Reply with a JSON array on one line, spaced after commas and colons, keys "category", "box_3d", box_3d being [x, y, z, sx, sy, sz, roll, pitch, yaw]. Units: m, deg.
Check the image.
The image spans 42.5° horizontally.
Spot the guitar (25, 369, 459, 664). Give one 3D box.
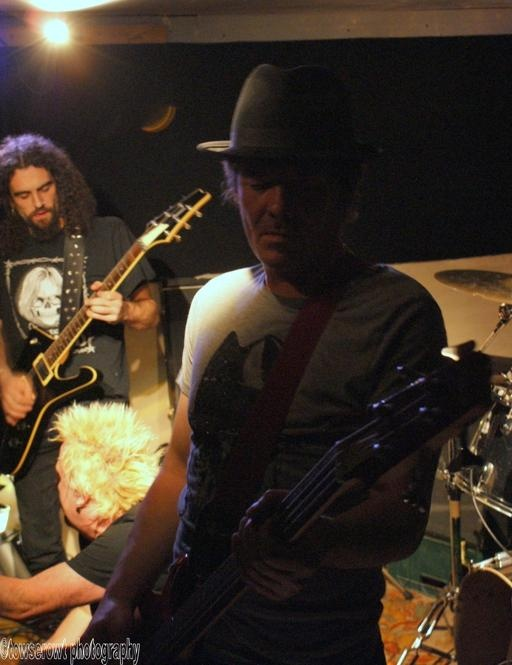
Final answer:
[{"category": "guitar", "box_3d": [-0.040, 0.386, 1.187, 0.120, 0.932, 0.286, 27, 39, -28]}]

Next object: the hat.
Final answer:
[{"category": "hat", "box_3d": [0.063, -0.408, 1.188, 0.337, 0.146, 0.288, -5, 25, -8]}]
